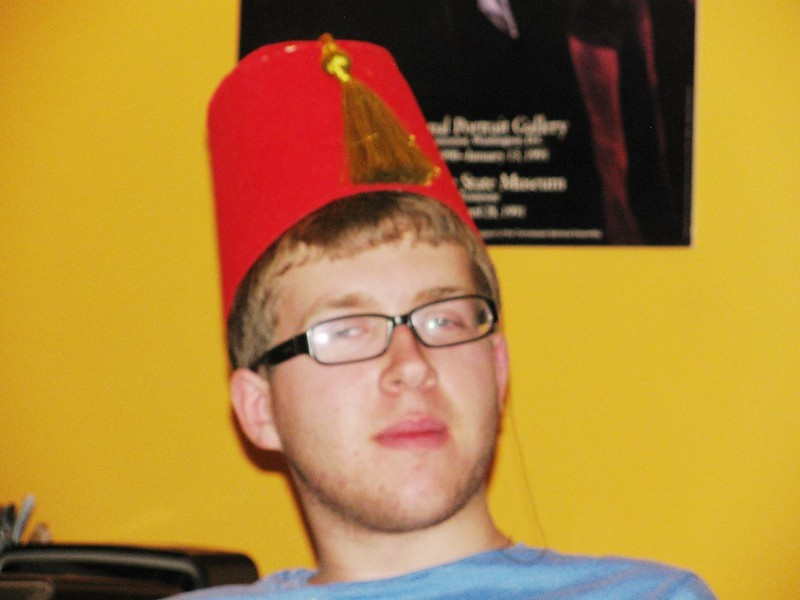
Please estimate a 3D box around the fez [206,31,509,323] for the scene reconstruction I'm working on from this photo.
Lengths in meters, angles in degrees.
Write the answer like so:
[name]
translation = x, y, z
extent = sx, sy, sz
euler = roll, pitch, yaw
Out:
[fez]
translation = -0.149, -0.228, 2.044
extent = 0.407, 0.399, 0.505
euler = -24, -11, -5
